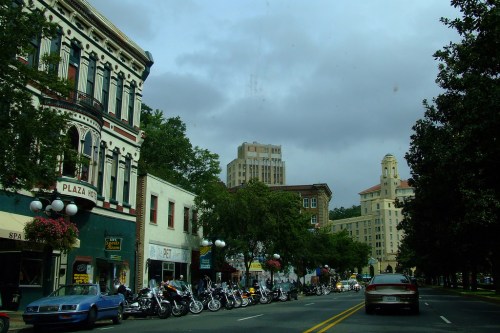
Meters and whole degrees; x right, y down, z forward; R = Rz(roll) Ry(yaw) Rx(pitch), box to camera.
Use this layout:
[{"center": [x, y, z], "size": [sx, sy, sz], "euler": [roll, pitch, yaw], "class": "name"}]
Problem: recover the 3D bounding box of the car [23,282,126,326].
[{"center": [-8.820, 7.164, 31.132], "size": [2.388, 2.195, 4.932], "euler": [1, -4, 31], "class": "car"}]
